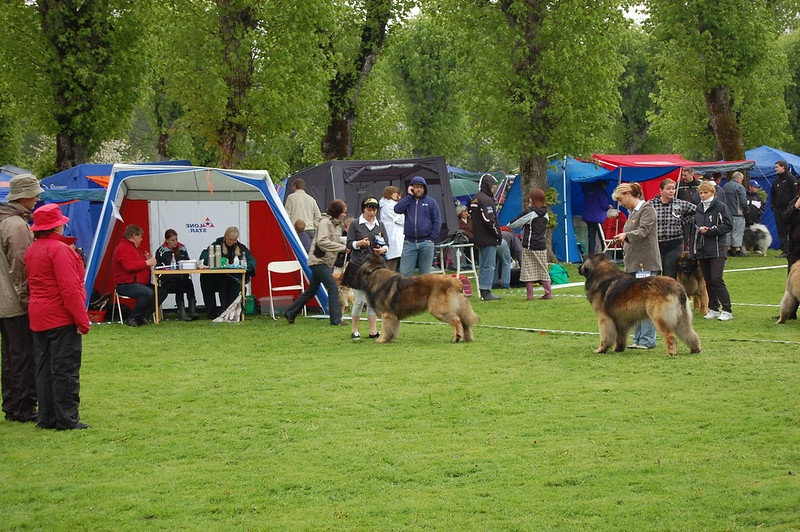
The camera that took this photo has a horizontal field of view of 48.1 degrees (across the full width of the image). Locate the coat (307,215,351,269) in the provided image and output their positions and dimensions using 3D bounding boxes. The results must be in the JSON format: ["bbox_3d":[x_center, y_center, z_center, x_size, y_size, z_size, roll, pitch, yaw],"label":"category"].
[{"bbox_3d":[-1.405,-0.483,17.086,0.919,1.005,0.822,4,14,7],"label":"coat"}]

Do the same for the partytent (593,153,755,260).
[{"bbox_3d":[6.302,-1.391,20.632,2.975,1.217,2.992,-2,7,0],"label":"partytent"}]

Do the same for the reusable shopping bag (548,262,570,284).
[{"bbox_3d":[4.044,0.169,22.977,0.495,0.649,0.648,-2,-3,4],"label":"reusable shopping bag"}]

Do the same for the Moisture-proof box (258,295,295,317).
[{"bbox_3d":[-2.698,0.849,19.471,0.625,0.307,0.438,0,-3,-13],"label":"Moisture-proof box"}]

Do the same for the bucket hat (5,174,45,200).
[{"bbox_3d":[-5.287,-1.116,12.675,0.406,0.238,0.427,-1,4,-2],"label":"bucket hat"}]

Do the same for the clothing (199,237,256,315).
[{"bbox_3d":[-3.656,0.187,18.748,1.336,2.204,1.256,3,-13,-13],"label":"clothing"}]

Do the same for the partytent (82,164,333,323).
[{"bbox_3d":[-4.325,-0.870,19.778,4.018,2.504,3.699,0,-2,-15],"label":"partytent"}]

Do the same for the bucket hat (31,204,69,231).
[{"bbox_3d":[-4.918,-0.651,12.426,0.391,0.215,0.411,-20,12,-41],"label":"bucket hat"}]

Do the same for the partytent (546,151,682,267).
[{"bbox_3d":[6.218,-2.140,26.336,3.504,2.324,3.548,-1,1,45],"label":"partytent"}]

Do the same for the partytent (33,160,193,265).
[{"bbox_3d":[-8.212,-1.914,23.682,3.100,1.988,3.141,0,1,43],"label":"partytent"}]

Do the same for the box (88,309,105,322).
[{"bbox_3d":[-6.134,0.994,18.026,0.274,0.176,0.208,6,-7,-36],"label":"box"}]

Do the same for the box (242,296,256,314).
[{"bbox_3d":[-3.256,0.836,19.378,0.321,0.440,0.322,0,-5,-10],"label":"box"}]

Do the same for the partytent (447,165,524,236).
[{"bbox_3d":[2.940,-2.193,29.750,2.355,1.171,2.337,-7,10,-40],"label":"partytent"}]

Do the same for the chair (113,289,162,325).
[{"bbox_3d":[-5.386,0.737,18.280,0.729,1.255,0.775,-5,1,-5],"label":"chair"}]

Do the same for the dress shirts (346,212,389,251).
[{"bbox_3d":[-0.567,-0.617,16.326,0.923,0.753,0.548,0,-2,-17],"label":"dress shirts"}]

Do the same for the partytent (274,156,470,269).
[{"bbox_3d":[-0.633,-1.148,19.636,3.099,1.612,3.088,2,-5,-41],"label":"partytent"}]

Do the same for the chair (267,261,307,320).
[{"bbox_3d":[-2.486,0.425,19.234,1.050,1.448,1.107,-1,2,-13],"label":"chair"}]

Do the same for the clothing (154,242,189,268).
[{"bbox_3d":[-4.768,-0.232,18.679,0.794,0.672,0.412,-2,-7,-26],"label":"clothing"}]
